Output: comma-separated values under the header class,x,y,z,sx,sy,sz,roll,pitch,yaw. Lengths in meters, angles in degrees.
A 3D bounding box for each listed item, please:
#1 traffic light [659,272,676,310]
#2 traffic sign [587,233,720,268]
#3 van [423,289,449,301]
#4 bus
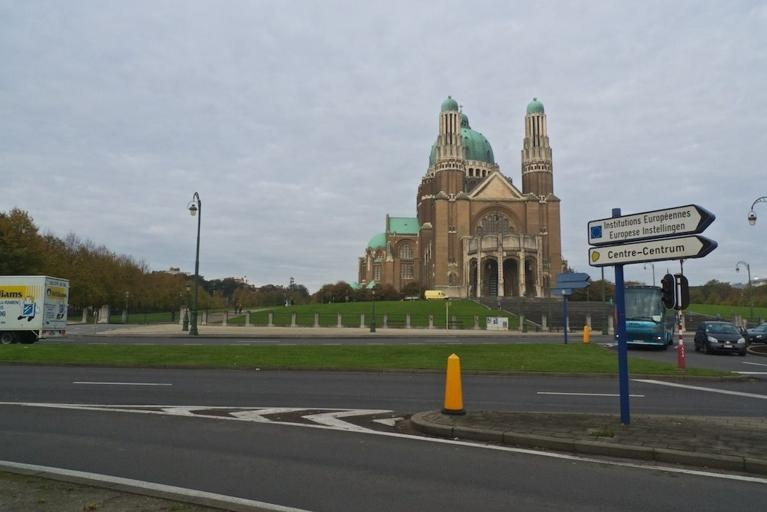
class,x,y,z,sx,sy,sz,roll,pitch,yaw
traffic light,9.181,1.128,24.267,0.426,1.169,0.610,2,7,18
traffic sign,6.023,-0.114,17.193,1.584,0.802,2.101,-2,6,-23
van,6.135,4.511,87.301,2.288,0.909,1.262,-1,-2,1
bus,13.115,3.303,37.361,2.127,2.927,7.245,-2,-10,26
